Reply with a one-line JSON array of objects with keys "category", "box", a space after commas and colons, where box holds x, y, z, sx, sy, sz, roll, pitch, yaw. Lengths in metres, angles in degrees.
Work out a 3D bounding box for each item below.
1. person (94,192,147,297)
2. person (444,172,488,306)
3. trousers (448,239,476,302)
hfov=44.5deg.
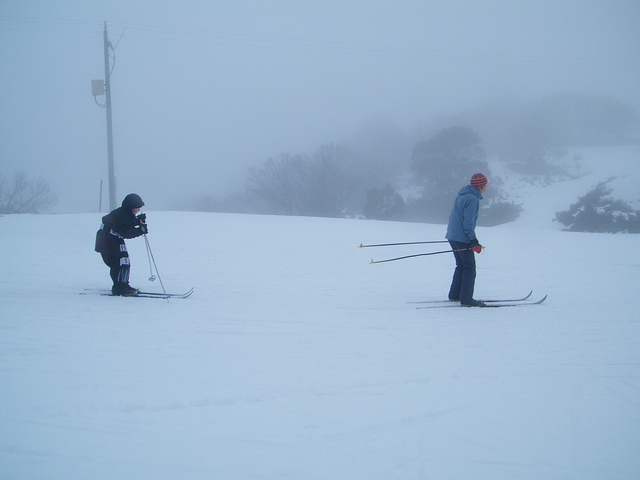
[{"category": "person", "box": [-3.798, 0.104, 15.055, 0.944, 1.964, 0.469, -4, 13, -15]}, {"category": "person", "box": [2.742, 0.016, 14.734, 0.726, 2.511, 0.735, 2, 13, 10]}, {"category": "trousers", "box": [2.681, 0.484, 14.825, 0.378, 1.422, 0.559, -10, 17, -25]}]
